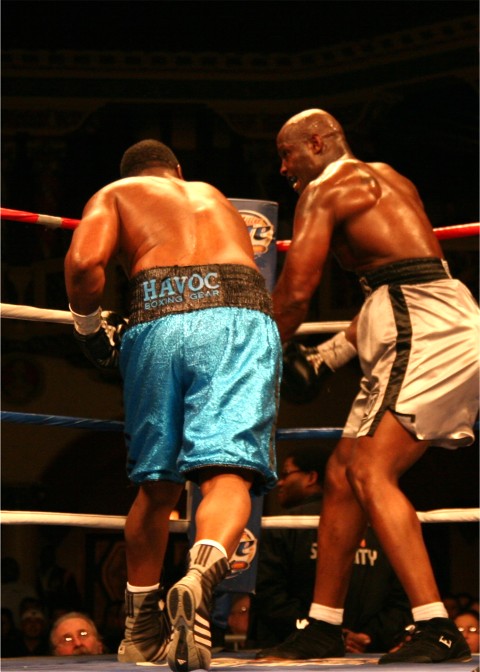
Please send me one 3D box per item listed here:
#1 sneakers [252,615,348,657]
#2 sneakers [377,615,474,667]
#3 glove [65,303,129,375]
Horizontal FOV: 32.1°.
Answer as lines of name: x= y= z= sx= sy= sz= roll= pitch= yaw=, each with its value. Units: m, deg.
sneakers: x=0.182 y=0.786 z=2.168 sx=0.281 sy=0.093 sz=0.084 roll=4 pitch=-19 yaw=-14
sneakers: x=0.455 y=0.725 z=1.995 sx=0.269 sy=0.091 sz=0.086 roll=1 pitch=-14 yaw=-20
glove: x=-0.374 y=0.004 z=2.197 sx=0.172 sy=0.176 sz=0.074 roll=-3 pitch=10 yaw=-17
